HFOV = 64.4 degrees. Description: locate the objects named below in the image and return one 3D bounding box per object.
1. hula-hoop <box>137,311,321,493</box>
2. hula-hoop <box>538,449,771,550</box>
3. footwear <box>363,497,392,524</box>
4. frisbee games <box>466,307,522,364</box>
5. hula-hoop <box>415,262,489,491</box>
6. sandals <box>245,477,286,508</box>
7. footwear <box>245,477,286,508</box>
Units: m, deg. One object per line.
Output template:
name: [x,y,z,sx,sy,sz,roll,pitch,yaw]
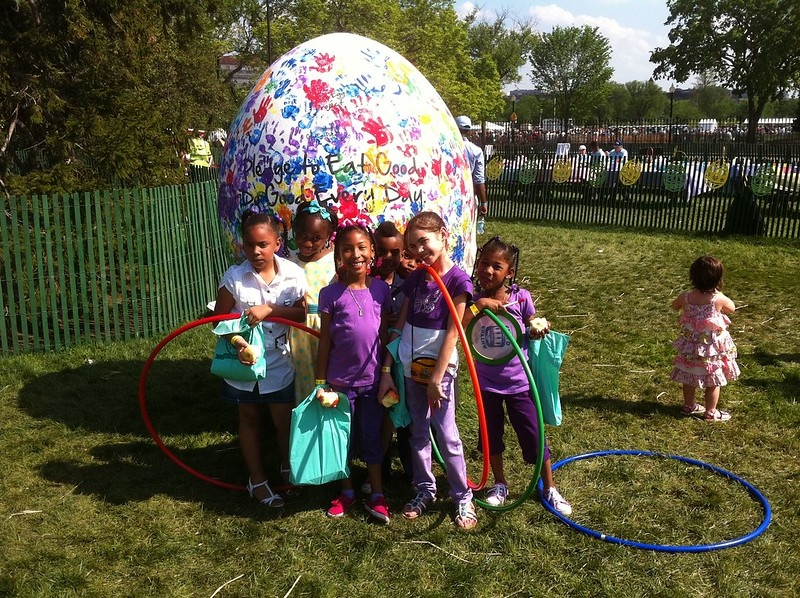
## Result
hula-hoop: [-1.509,0.584,5.294,1.374,1.617,1.279,-5,21,-29]
hula-hoop: [1.900,1.491,4.770,1.657,0.257,1.119,0,9,-1]
footwear: [-0.163,1.524,4.563,0.095,0.123,0.241,8,-1,-28]
frisbee games: [0.660,0.266,4.502,0.394,0.387,0.384,9,15,21]
hula-hoop: [0.427,0.545,4.346,0.483,1.556,0.520,5,8,44]
sandals: [-1.001,1.447,4.761,0.292,0.128,0.146,25,26,36]
footwear: [-0.995,1.457,4.747,0.292,0.128,0.146,25,26,36]
